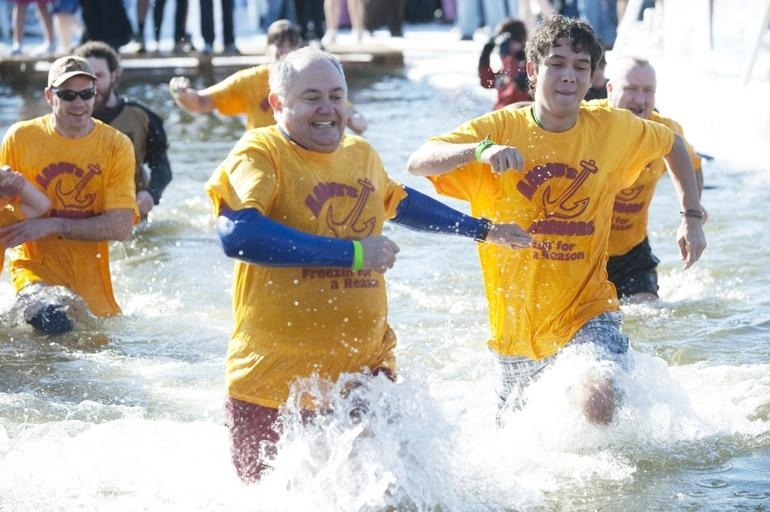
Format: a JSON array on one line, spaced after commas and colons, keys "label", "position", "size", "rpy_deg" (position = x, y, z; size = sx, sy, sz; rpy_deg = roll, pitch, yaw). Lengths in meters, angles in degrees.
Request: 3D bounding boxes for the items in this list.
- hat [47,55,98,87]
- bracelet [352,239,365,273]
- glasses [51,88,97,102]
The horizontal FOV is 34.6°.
[{"label": "hat", "position": [-2.469, -1.457, 9.712], "size": [0.362, 0.230, 0.377], "rpy_deg": [-3, 12, -13]}, {"label": "bracelet", "position": [-0.176, 0.013, 7.642], "size": [0.071, 0.147, 0.112], "rpy_deg": [-4, 7, -3]}, {"label": "glasses", "position": [-2.421, -1.264, 9.587], "size": [0.330, 0.110, 0.105], "rpy_deg": [-4, 13, -17]}]
